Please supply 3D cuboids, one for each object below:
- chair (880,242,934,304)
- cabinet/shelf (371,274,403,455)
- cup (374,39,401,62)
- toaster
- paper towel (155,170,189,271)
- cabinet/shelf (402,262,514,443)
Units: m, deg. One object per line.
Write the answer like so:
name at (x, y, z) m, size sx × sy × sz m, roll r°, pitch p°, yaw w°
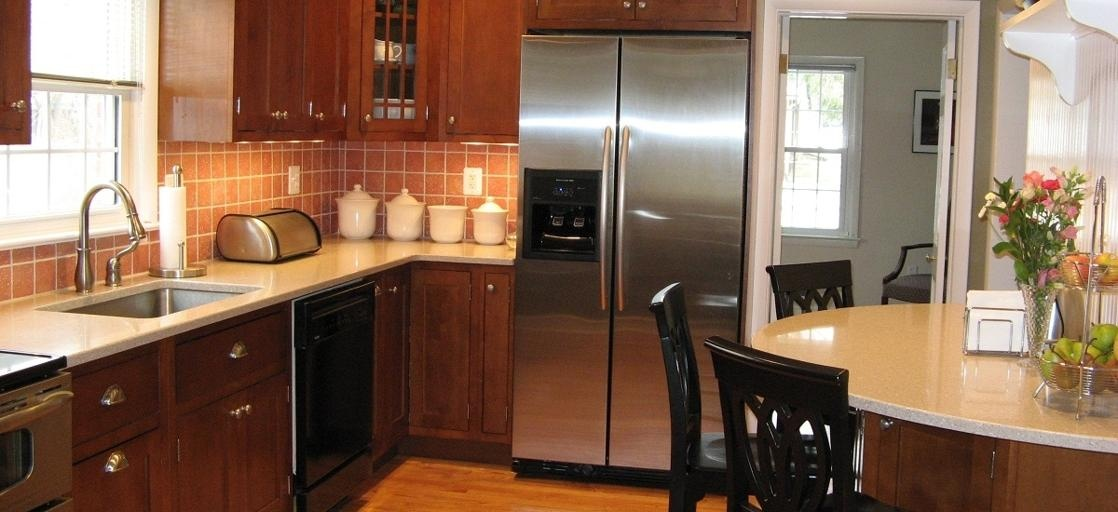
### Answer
chair at (3.407, 0.176, 7.591) m, size 0.396 × 0.594 × 1.023 m, roll 6°, pitch 11°, yaw 22°
cabinet/shelf at (-1.213, 0.805, 5.593) m, size 0.122 × 1.397 × 0.426 m, roll 6°, pitch 11°, yaw 16°
cup at (-1.273, -1.532, 5.811) m, size 0.217 × 0.120 × 0.141 m, roll 5°, pitch 8°, yaw 8°
toaster at (-2.052, -0.198, 5.434) m, size 0.490 × 0.265 × 0.508 m, roll 4°, pitch 8°, yaw 21°
paper towel at (-2.485, -0.246, 5.000) m, size 0.168 × 0.655 × 0.322 m, roll -3°, pitch 12°, yaw -27°
cabinet/shelf at (-0.719, 0.703, 5.721) m, size 0.772 × 1.285 × 0.245 m, roll 2°, pitch 11°, yaw -1°
